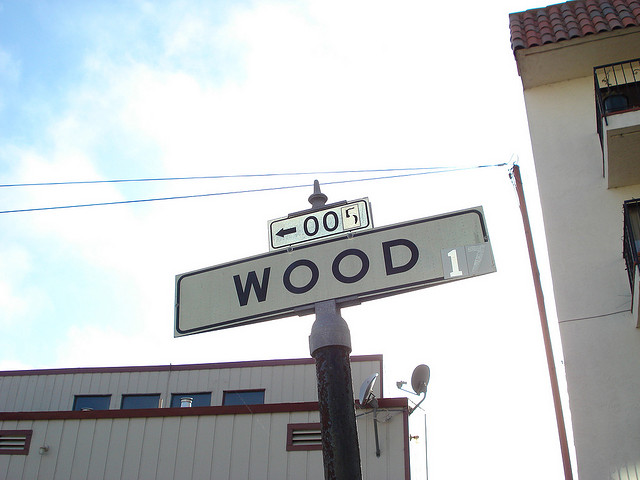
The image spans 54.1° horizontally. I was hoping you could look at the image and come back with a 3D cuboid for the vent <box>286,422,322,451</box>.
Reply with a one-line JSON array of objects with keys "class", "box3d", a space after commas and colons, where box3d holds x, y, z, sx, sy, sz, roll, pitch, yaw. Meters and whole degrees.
[{"class": "vent", "box3d": [-0.450, 5.150, 16.486, 0.944, 0.711, 0.198, -3, -12, 13]}]
